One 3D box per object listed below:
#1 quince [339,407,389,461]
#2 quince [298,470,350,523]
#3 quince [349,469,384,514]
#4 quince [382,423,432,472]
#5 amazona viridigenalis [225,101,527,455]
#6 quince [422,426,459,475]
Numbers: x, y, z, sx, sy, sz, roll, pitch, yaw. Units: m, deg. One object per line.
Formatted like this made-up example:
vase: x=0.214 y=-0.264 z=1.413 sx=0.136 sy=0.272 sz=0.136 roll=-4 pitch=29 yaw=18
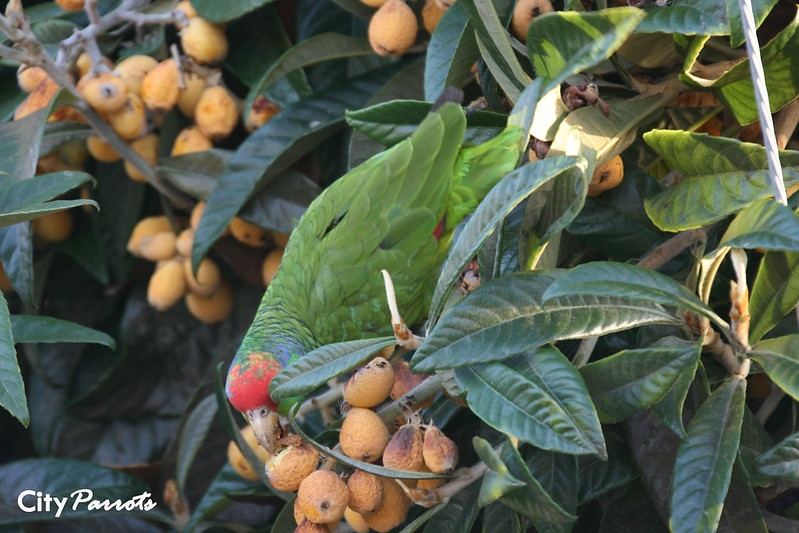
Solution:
quince: x=-0.052 y=0.244 z=1.525 sx=0.073 sy=0.076 sz=0.059 roll=-14 pitch=23 yaw=-37
quince: x=-0.110 y=0.335 z=1.532 sx=0.071 sy=0.068 sz=0.057 roll=-15 pitch=32 yaw=-16
quince: x=-0.052 y=0.324 z=1.529 sx=0.044 sy=0.063 sz=0.034 roll=0 pitch=5 yaw=-10
quince: x=0.008 y=0.262 z=1.523 sx=0.052 sy=0.067 sz=0.054 roll=-7 pitch=18 yaw=-26
amazona viridigenalis: x=-0.055 y=-0.023 z=1.961 sx=0.250 sy=0.341 sz=0.823 roll=-9 pitch=51 yaw=46
quince: x=0.055 y=0.268 z=1.531 sx=0.048 sy=0.063 sz=0.047 roll=1 pitch=31 yaw=11
